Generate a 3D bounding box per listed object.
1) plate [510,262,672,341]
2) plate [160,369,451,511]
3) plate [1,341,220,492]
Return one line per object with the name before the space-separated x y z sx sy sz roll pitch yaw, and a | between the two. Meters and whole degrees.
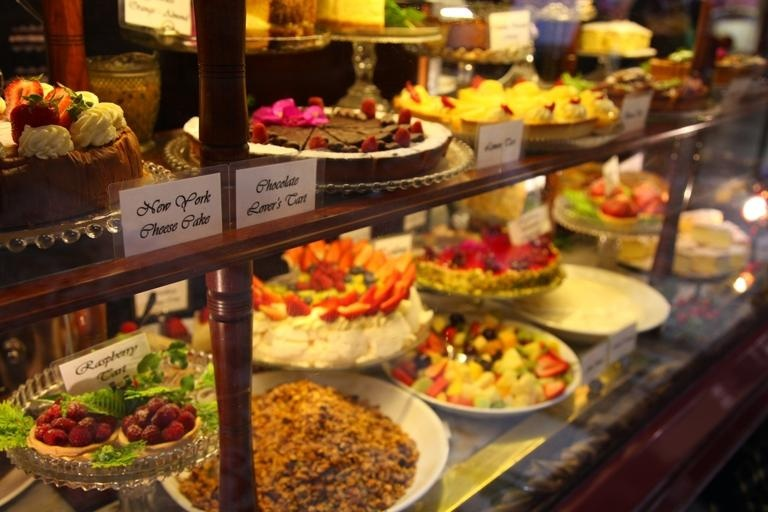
plate | 0.847 0.187 2.270 0.394 0.096 0.397 20 29 32
plate | -0.083 0.611 1.919 0.528 0.089 0.522 3 23 0
plate | -0.690 0.464 1.498 0.511 0.115 0.465 -4 34 -19
